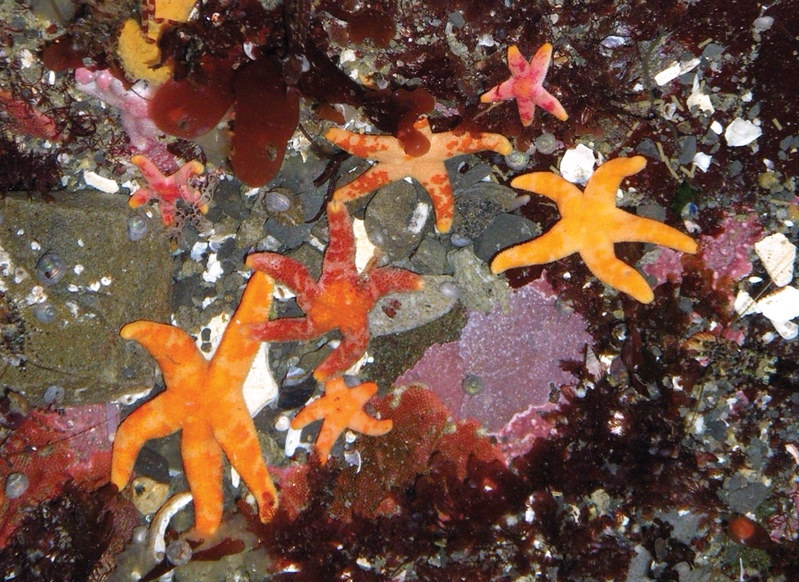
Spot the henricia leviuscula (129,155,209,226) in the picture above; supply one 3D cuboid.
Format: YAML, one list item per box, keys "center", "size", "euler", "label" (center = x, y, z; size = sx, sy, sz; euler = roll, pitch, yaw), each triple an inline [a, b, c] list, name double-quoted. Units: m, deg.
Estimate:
- center: [-1.549, -0.674, 6.247]
  size: [0.508, 0.389, 0.314]
  euler: [-5, 59, -14]
  label: "henricia leviuscula"
